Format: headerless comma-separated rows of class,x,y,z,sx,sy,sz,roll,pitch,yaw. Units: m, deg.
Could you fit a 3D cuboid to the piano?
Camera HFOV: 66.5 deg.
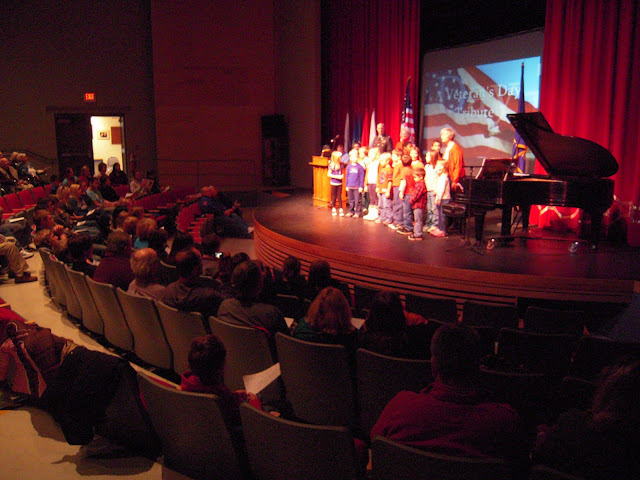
piano,2.766,-0.753,6.416,1.771,1.917,1.500,-3,6,3
